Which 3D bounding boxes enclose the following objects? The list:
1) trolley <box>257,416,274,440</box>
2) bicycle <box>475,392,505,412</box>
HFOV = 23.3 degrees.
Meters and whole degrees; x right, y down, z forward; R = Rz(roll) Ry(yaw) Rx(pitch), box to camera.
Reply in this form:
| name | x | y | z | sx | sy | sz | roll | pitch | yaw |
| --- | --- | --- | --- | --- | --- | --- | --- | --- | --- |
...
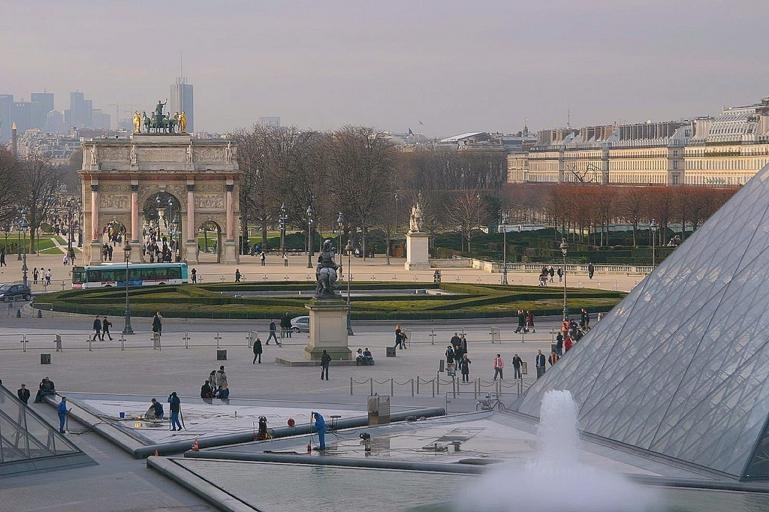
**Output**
| name | x | y | z | sx | sy | sz | roll | pitch | yaw |
| --- | --- | --- | --- | --- | --- | --- | --- | --- | --- |
| trolley | -3.617 | 5.121 | 55.668 | 0.426 | 0.656 | 0.629 | 0 | 2 | -4 |
| bicycle | 3.317 | 4.618 | 58.972 | 0.920 | 0.370 | 2.429 | 0 | 2 | 3 |
